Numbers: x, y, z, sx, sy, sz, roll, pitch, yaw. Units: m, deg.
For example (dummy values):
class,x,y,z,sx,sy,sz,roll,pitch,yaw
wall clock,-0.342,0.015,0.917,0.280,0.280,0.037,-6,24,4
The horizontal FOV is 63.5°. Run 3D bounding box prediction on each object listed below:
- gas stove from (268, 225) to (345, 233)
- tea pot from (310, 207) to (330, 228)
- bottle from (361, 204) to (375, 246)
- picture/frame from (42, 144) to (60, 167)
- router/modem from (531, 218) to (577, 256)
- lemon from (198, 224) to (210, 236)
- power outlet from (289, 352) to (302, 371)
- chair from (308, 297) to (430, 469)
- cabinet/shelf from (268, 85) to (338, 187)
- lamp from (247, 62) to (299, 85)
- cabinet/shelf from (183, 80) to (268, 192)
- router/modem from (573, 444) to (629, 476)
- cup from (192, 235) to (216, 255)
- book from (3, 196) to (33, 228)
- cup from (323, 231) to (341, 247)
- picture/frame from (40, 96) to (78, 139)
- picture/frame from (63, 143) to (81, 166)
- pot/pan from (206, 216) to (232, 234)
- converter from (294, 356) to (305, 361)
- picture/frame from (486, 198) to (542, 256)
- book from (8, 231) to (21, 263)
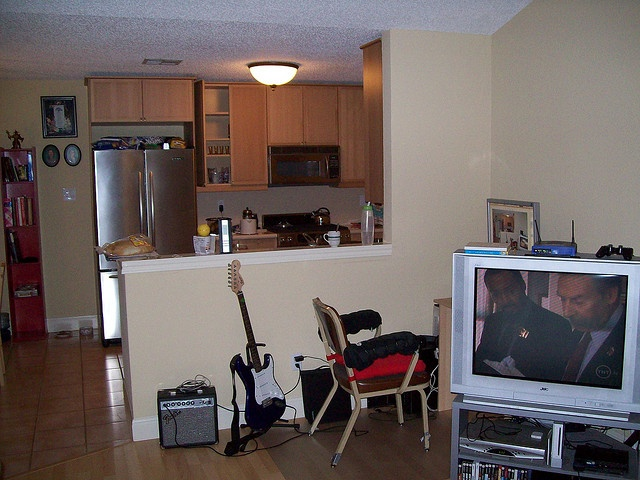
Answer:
class,x,y,z,sx,sy,sz,roll,pitch,yaw
gas stove,-0.233,-0.138,6.433,0.840,0.102,0.302,-3,10,-5
tea pot,0.031,-0.308,6.861,0.200,0.261,0.299,7,11,36
bottle,0.386,-0.131,4.231,0.087,0.323,0.163,0,10,11
picture/frame,-3.168,-0.988,6.054,0.256,0.311,0.034,3,0,-17
router/modem,1.400,0.009,3.100,0.280,0.270,0.284,-1,2,24
lemon,-0.889,-0.073,3.927,0.087,0.090,0.131,-4,10,-13
power outlet,-0.193,0.952,4.047,0.115,0.119,0.028,-9,25,2
chair,0.351,0.957,3.708,0.813,1.029,0.900,-2,2,-17
cabinet/shelf,-0.182,-1.359,6.892,1.030,1.363,0.823,5,20,15
lamp,-0.512,-1.657,5.333,0.305,0.130,0.304,-5,8,-29
cabinet/shelf,-1.111,-1.261,6.509,0.963,1.274,0.683,-1,6,1
router/modem,1.584,1.232,2.920,0.271,0.079,0.257,4,11,30
cup,-0.881,0.038,3.930,0.157,0.144,0.158,-2,10,0
book,-3.440,-0.347,6.020,0.394,0.387,0.298,3,8,19
cup,0.095,-0.004,4.242,0.103,0.130,0.145,-1,0,-8
picture/frame,-3.053,-1.442,6.011,0.477,0.561,0.061,-1,7,-13
picture/frame,-2.937,-1.014,6.094,0.253,0.309,0.033,1,4,-10
pot/pan,-0.923,-0.129,4.658,0.259,0.118,0.308,-1,0,-21
converter,-0.171,0.922,4.031,0.061,0.022,0.034,-2,-1,-22
picture/frame,1.325,-0.082,3.521,0.043,0.381,0.390,-2,4,-19
book,-3.503,0.096,5.905,0.102,0.360,0.057,-8,12,-31
